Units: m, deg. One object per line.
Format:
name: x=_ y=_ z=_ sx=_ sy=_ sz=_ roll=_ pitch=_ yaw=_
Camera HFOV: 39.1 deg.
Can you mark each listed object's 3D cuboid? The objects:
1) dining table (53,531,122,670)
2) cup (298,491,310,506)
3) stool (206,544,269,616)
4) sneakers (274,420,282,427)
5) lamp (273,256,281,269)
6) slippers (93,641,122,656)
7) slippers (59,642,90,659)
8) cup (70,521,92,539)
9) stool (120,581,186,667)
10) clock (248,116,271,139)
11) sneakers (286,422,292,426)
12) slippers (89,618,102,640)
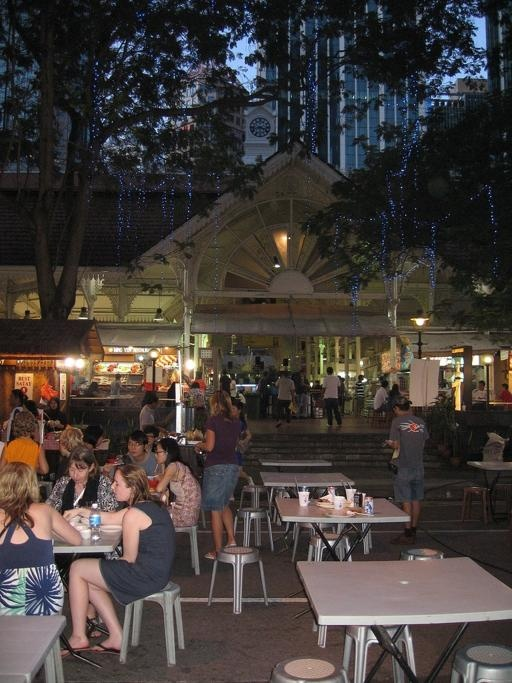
dining table: x=-1.160 y=1.801 z=5.020 sx=0.611 sy=0.715 sz=1.037 roll=0 pitch=10 yaw=-10
cup: x=0.448 y=1.501 z=6.929 sx=0.132 sy=0.131 sz=0.131 roll=-1 pitch=-5 yaw=0
stool: x=-0.157 y=2.028 z=6.227 sx=0.491 sy=0.442 sz=0.495 roll=-4 pitch=-7 yaw=28
sneakers: x=0.709 y=2.585 z=22.681 sx=0.137 sy=0.274 sz=0.287 roll=7 pitch=11 yaw=-2
lamp: x=0.748 y=-2.836 z=26.064 sx=0.088 sy=0.369 sz=0.356 roll=0 pitch=0 yaw=-41
slippers: x=-1.052 y=2.172 z=5.130 sx=0.187 sy=0.043 sz=0.085 roll=8 pitch=-10 yaw=0
slippers: x=-1.282 y=2.167 z=5.084 sx=0.254 sy=0.061 sz=0.093 roll=16 pitch=-2 yaw=4
cup: x=-1.310 y=1.457 z=5.511 sx=0.170 sy=0.074 sz=0.169 roll=3 pitch=-8 yaw=0
stool: x=-0.724 y=2.017 z=5.260 sx=0.538 sy=0.587 sz=0.512 roll=0 pitch=-1 yaw=3
clock: x=0.393 y=-21.011 z=71.278 sx=1.932 sy=1.815 sz=1.600 roll=1 pitch=0 yaw=3
sneakers: x=1.076 y=2.661 z=23.211 sx=0.163 sy=0.178 sz=0.161 roll=1 pitch=11 yaw=4
slippers: x=-1.242 y=2.217 z=5.640 sx=0.131 sy=0.185 sz=0.072 roll=2 pitch=22 yaw=3
